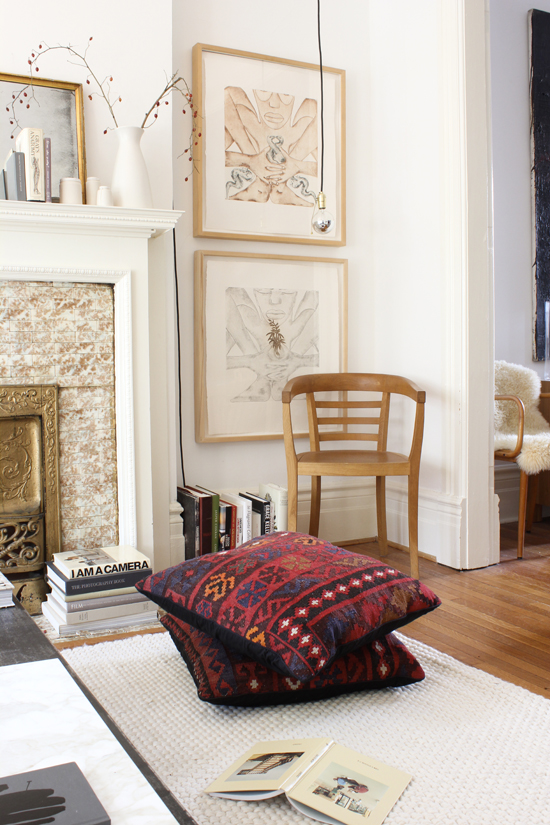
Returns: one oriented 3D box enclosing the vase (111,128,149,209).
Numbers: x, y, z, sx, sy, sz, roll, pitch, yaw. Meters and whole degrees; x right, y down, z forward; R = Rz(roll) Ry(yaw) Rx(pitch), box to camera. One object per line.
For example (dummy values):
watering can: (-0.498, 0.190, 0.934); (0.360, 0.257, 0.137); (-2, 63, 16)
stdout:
vase: (-0.473, -0.786, 2.191); (0.128, 0.292, 0.106); (-4, -6, 43)

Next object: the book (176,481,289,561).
book: (-0.181, 0.339, 2.502); (0.293, 0.409, 0.301); (-1, 4, -6)

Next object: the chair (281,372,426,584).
chair: (0.322, 0.243, 2.651); (0.535, 0.768, 0.505); (1, 4, 15)

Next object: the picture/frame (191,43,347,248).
picture/frame: (-0.055, -1.147, 2.839); (0.919, 1.009, 0.067); (-2, 6, -31)

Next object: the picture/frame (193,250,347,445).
picture/frame: (-0.050, -0.276, 2.853); (0.811, 0.944, 0.064); (-3, 6, -29)

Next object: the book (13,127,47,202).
book: (-0.705, -0.753, 2.017); (0.151, 0.153, 0.053); (-14, 0, 21)

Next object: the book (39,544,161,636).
book: (-0.517, 0.460, 2.006); (0.305, 0.211, 0.296); (-2, 6, -21)
